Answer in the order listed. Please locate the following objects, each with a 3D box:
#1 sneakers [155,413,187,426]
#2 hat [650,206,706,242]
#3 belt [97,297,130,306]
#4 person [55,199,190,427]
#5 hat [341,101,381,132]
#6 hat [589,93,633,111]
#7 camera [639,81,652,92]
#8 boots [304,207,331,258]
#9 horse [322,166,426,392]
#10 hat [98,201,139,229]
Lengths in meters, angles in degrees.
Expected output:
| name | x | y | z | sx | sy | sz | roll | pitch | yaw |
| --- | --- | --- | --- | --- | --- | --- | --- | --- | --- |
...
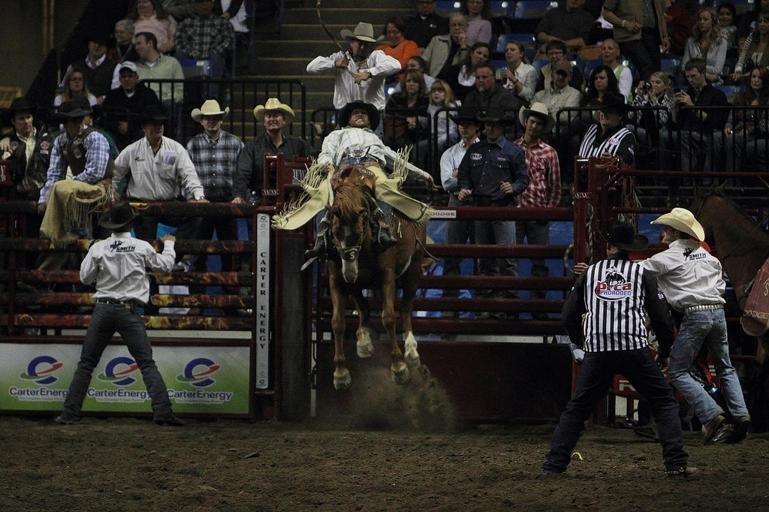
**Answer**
| name | x | y | z | sx | sy | sz | roll | pitch | yaw |
| --- | --- | --- | --- | --- | --- | --- | --- | --- | --- |
| sneakers | -2.874 | 2.178 | 16.180 | 0.509 | 0.189 | 0.137 | 1 | 37 | -14 |
| hat | 3.722 | -0.402 | 15.237 | 0.560 | 0.216 | 0.429 | 28 | 6 | 21 |
| belt | -3.590 | 0.604 | 16.116 | 0.444 | 0.101 | 0.055 | 0 | 3 | 2 |
| person | -3.511 | 0.774 | 16.164 | 1.475 | 2.952 | 0.493 | 0 | 3 | -12 |
| hat | -0.345 | -1.889 | 16.498 | 0.550 | 0.354 | 0.285 | 0 | 3 | -6 |
| hat | 3.266 | -2.227 | 17.743 | 0.654 | 0.194 | 0.548 | 5 | -3 | -34 |
| camera | 4.241 | -2.746 | 19.718 | 0.212 | 0.167 | 0.197 | 0 | -6 | -6 |
| boots | -0.803 | -0.273 | 15.998 | 0.486 | 0.554 | 0.241 | -1 | -7 | 25 |
| horse | -0.127 | 0.271 | 15.911 | 1.036 | 2.890 | 1.516 | 2 | 3 | 29 |
| hat | -3.532 | -0.512 | 16.136 | 0.411 | 0.154 | 0.421 | 11 | 44 | 23 |
